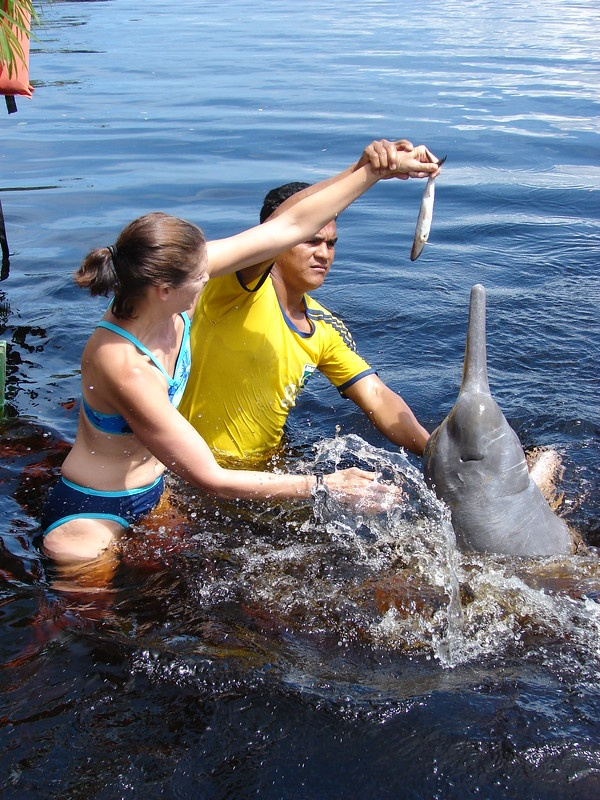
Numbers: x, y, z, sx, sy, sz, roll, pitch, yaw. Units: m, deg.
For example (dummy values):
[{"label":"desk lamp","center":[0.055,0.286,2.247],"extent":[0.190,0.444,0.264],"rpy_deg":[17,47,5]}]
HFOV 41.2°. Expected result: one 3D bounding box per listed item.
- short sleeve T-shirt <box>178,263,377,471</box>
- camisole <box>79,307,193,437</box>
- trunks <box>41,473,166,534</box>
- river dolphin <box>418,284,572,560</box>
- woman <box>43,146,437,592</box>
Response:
[{"label":"short sleeve T-shirt","center":[-0.164,-0.123,4.053],"extent":[1.009,0.977,0.584],"rpy_deg":[28,-22,-29]},{"label":"camisole","center":[-0.591,-0.073,3.337],"extent":[0.469,0.571,0.337],"rpy_deg":[-17,35,-8]},{"label":"trunks","center":[-0.799,0.335,3.270],"extent":[0.268,0.135,0.479],"rpy_deg":[12,13,3]},{"label":"river dolphin","center":[0.911,0.140,3.331],"extent":[0.695,1.139,0.332],"rpy_deg":[13,27,7]},{"label":"woman","center":[-0.393,-0.098,3.293],"extent":[1.315,1.446,0.766],"rpy_deg":[-11,33,-34]}]
